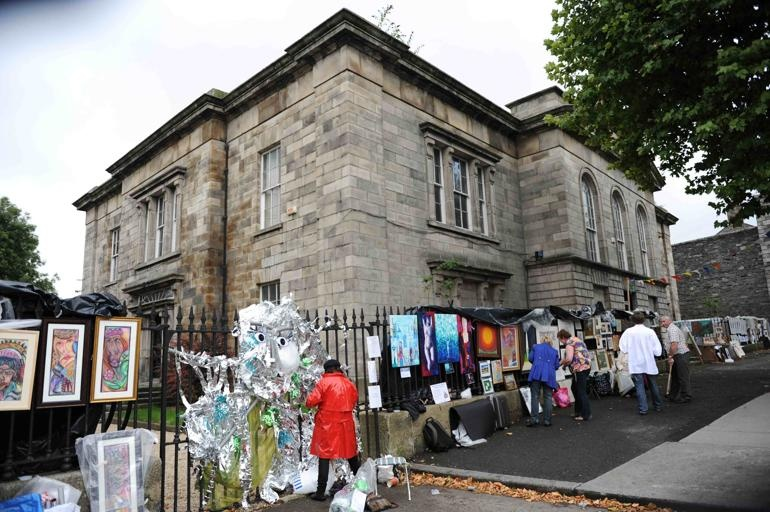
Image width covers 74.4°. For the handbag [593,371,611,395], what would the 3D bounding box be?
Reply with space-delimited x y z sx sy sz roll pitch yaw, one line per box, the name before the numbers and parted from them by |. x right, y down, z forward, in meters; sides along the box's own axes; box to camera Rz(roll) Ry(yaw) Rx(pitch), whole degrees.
handbag | 7.261 4.231 17.053 0.515 0.870 0.707 -6 -7 38

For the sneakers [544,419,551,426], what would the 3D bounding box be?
sneakers | 4.276 4.352 13.410 0.195 0.203 0.119 -4 -9 15

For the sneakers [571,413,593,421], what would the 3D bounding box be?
sneakers | 5.253 4.237 13.565 0.500 0.225 0.167 6 -15 -12

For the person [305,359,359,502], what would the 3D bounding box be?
person | -0.977 3.214 9.667 0.944 2.521 0.556 -3 -16 -5
